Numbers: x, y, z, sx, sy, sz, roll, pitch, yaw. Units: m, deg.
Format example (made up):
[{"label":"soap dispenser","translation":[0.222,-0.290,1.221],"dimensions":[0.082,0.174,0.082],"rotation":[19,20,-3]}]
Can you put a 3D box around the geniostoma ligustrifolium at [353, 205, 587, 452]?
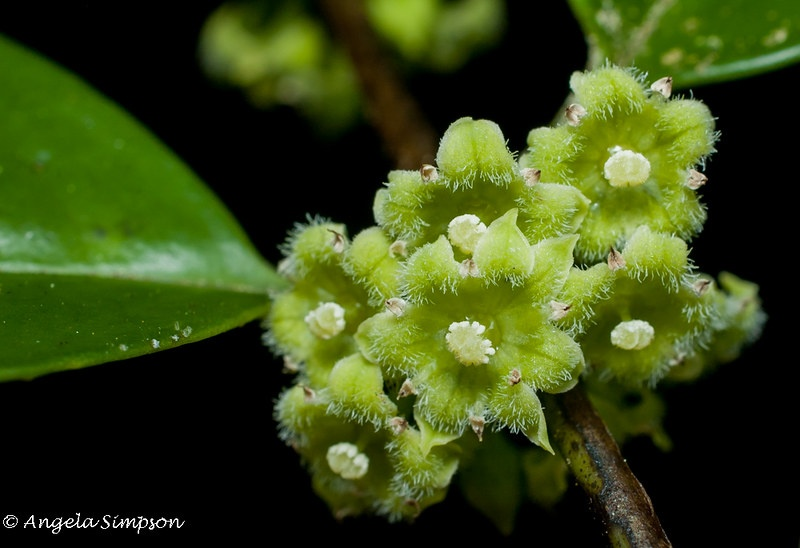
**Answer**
[{"label":"geniostoma ligustrifolium","translation":[0.204,0.144,2.487],"dimensions":[0.581,0.268,0.581],"rotation":[4,70,7]}]
